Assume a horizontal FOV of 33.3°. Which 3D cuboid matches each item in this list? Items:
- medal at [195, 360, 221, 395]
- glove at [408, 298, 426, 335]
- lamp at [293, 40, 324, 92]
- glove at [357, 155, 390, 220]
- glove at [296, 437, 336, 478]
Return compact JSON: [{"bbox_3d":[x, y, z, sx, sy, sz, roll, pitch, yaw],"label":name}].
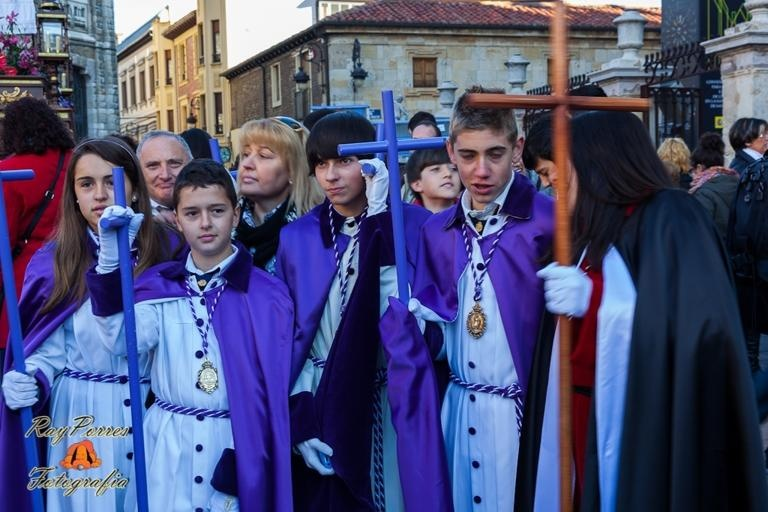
[{"bbox_3d":[-1.245,0.873,9.107,0.177,0.267,0.024,-4,-29,-10],"label":"medal"},{"bbox_3d":[0.228,0.438,9.175,0.054,0.221,0.140,-14,18,41],"label":"glove"},{"bbox_3d":[-1.982,-4.856,32.702,0.782,1.491,0.476,-5,-19,6],"label":"lamp"},{"bbox_3d":[-0.088,-0.520,9.402,0.251,0.386,0.122,3,6,32],"label":"glove"},{"bbox_3d":[-0.502,1.459,9.197,0.280,0.294,0.127,2,7,33],"label":"glove"}]
